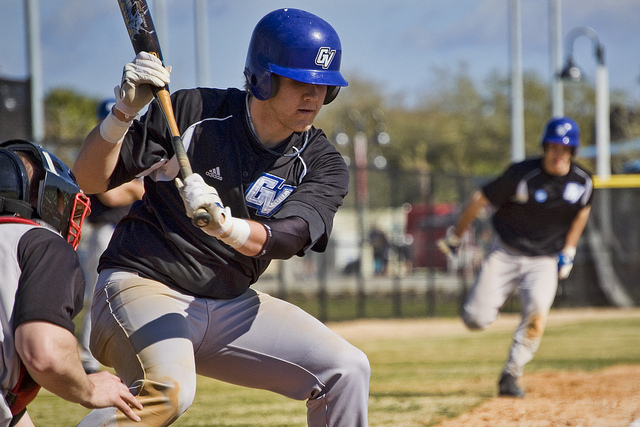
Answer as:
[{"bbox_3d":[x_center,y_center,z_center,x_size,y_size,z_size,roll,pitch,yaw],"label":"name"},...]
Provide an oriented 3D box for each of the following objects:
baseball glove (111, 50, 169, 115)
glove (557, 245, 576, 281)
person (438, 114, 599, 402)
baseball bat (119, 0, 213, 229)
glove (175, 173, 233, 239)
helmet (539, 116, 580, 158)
[{"bbox_3d":[-1.182,-0.874,6.460,0.342,0.394,0.214,8,-3,-7],"label":"baseball glove"},{"bbox_3d":[2.179,0.424,8.548,0.138,0.356,0.117,-1,2,-6],"label":"glove"},{"bbox_3d":[1.728,0.284,8.393,1.139,1.653,0.758,7,-3,14],"label":"person"},{"bbox_3d":[-1.039,-0.516,6.381,0.156,1.851,0.188,-12,2,-43],"label":"baseball bat"},{"bbox_3d":[-0.742,-0.054,6.185,0.389,0.347,0.162,8,-3,-14],"label":"glove"},{"bbox_3d":[2.216,-0.701,8.767,0.370,0.398,0.511,9,3,15],"label":"helmet"}]
